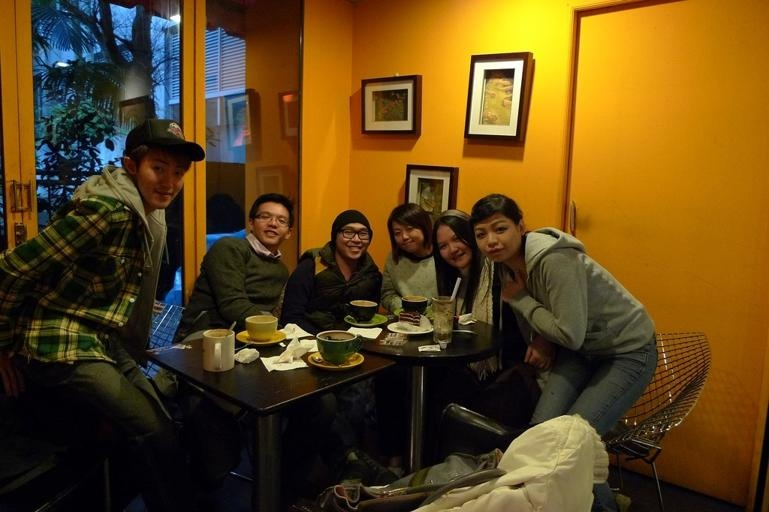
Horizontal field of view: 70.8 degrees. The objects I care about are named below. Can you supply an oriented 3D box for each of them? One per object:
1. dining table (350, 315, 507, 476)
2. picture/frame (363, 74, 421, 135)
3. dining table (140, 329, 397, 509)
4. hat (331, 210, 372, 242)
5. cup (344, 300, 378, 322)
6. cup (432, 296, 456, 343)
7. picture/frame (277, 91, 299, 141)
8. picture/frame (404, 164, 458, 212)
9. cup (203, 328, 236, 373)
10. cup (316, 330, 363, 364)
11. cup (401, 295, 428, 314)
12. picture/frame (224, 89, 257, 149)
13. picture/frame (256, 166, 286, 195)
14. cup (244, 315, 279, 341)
[{"bbox_3d":[0.198,0.742,3.262,0.779,0.857,0.791,-11,23,-28],"label":"dining table"},{"bbox_3d":[0.073,-1.187,4.215,0.491,0.397,0.085,6,9,28],"label":"picture/frame"},{"bbox_3d":[-0.543,0.587,2.727,0.841,0.830,0.848,6,9,35],"label":"dining table"},{"bbox_3d":[-0.223,-0.233,3.597,0.231,0.175,0.227,13,-19,-29],"label":"hat"},{"bbox_3d":[-0.133,0.317,3.160,0.142,0.092,0.114,3,4,29],"label":"cup"},{"bbox_3d":[0.318,0.343,2.937,0.113,0.254,0.234,5,16,9],"label":"cup"},{"bbox_3d":[-0.724,-1.076,4.129,0.070,0.294,0.267,8,10,44],"label":"picture/frame"},{"bbox_3d":[0.351,-0.453,4.132,0.069,0.461,0.489,-7,17,-39],"label":"picture/frame"},{"bbox_3d":[-0.776,0.444,2.582,0.129,0.139,0.201,0,9,-10],"label":"cup"},{"bbox_3d":[-0.209,0.453,2.627,0.207,0.133,0.176,3,6,9],"label":"cup"},{"bbox_3d":[0.190,0.279,3.211,0.110,0.076,0.111,4,10,-1],"label":"cup"},{"bbox_3d":[-1.024,-0.957,3.906,0.233,0.417,0.029,4,5,13],"label":"picture/frame"},{"bbox_3d":[-0.863,-0.572,4.054,0.021,0.201,0.280,16,15,39],"label":"picture/frame"},{"bbox_3d":[-0.631,0.362,2.807,0.132,0.094,0.136,5,8,-1],"label":"cup"}]
